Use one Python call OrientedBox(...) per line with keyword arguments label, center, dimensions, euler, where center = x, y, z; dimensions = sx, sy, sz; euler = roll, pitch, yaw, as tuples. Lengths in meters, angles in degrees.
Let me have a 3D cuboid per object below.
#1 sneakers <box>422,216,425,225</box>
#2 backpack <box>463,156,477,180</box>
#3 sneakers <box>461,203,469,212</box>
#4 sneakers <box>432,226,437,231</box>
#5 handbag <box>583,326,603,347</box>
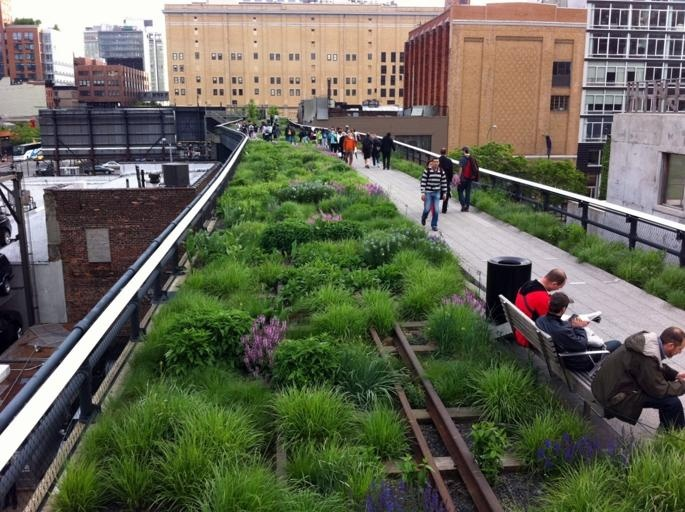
OrientedBox(label="sneakers", center=(2.521, -1.100, 16.001), dimensions=(0.078, 0.267, 0.105), euler=(-2, -2, -10))
OrientedBox(label="backpack", center=(4.417, -3.029, 17.931), dimensions=(0.534, 0.773, 0.476), euler=(-3, 13, -11))
OrientedBox(label="sneakers", center=(4.398, -1.690, 18.401), dimensions=(0.134, 0.282, 0.369), euler=(2, 2, 36))
OrientedBox(label="sneakers", center=(2.723, -0.823, 15.390), dimensions=(0.108, 0.126, 0.297), euler=(-2, 5, 4))
OrientedBox(label="handbag", center=(3.475, 1.123, 7.190), dimensions=(0.129, 0.325, 0.243), euler=(-27, 27, 18))
